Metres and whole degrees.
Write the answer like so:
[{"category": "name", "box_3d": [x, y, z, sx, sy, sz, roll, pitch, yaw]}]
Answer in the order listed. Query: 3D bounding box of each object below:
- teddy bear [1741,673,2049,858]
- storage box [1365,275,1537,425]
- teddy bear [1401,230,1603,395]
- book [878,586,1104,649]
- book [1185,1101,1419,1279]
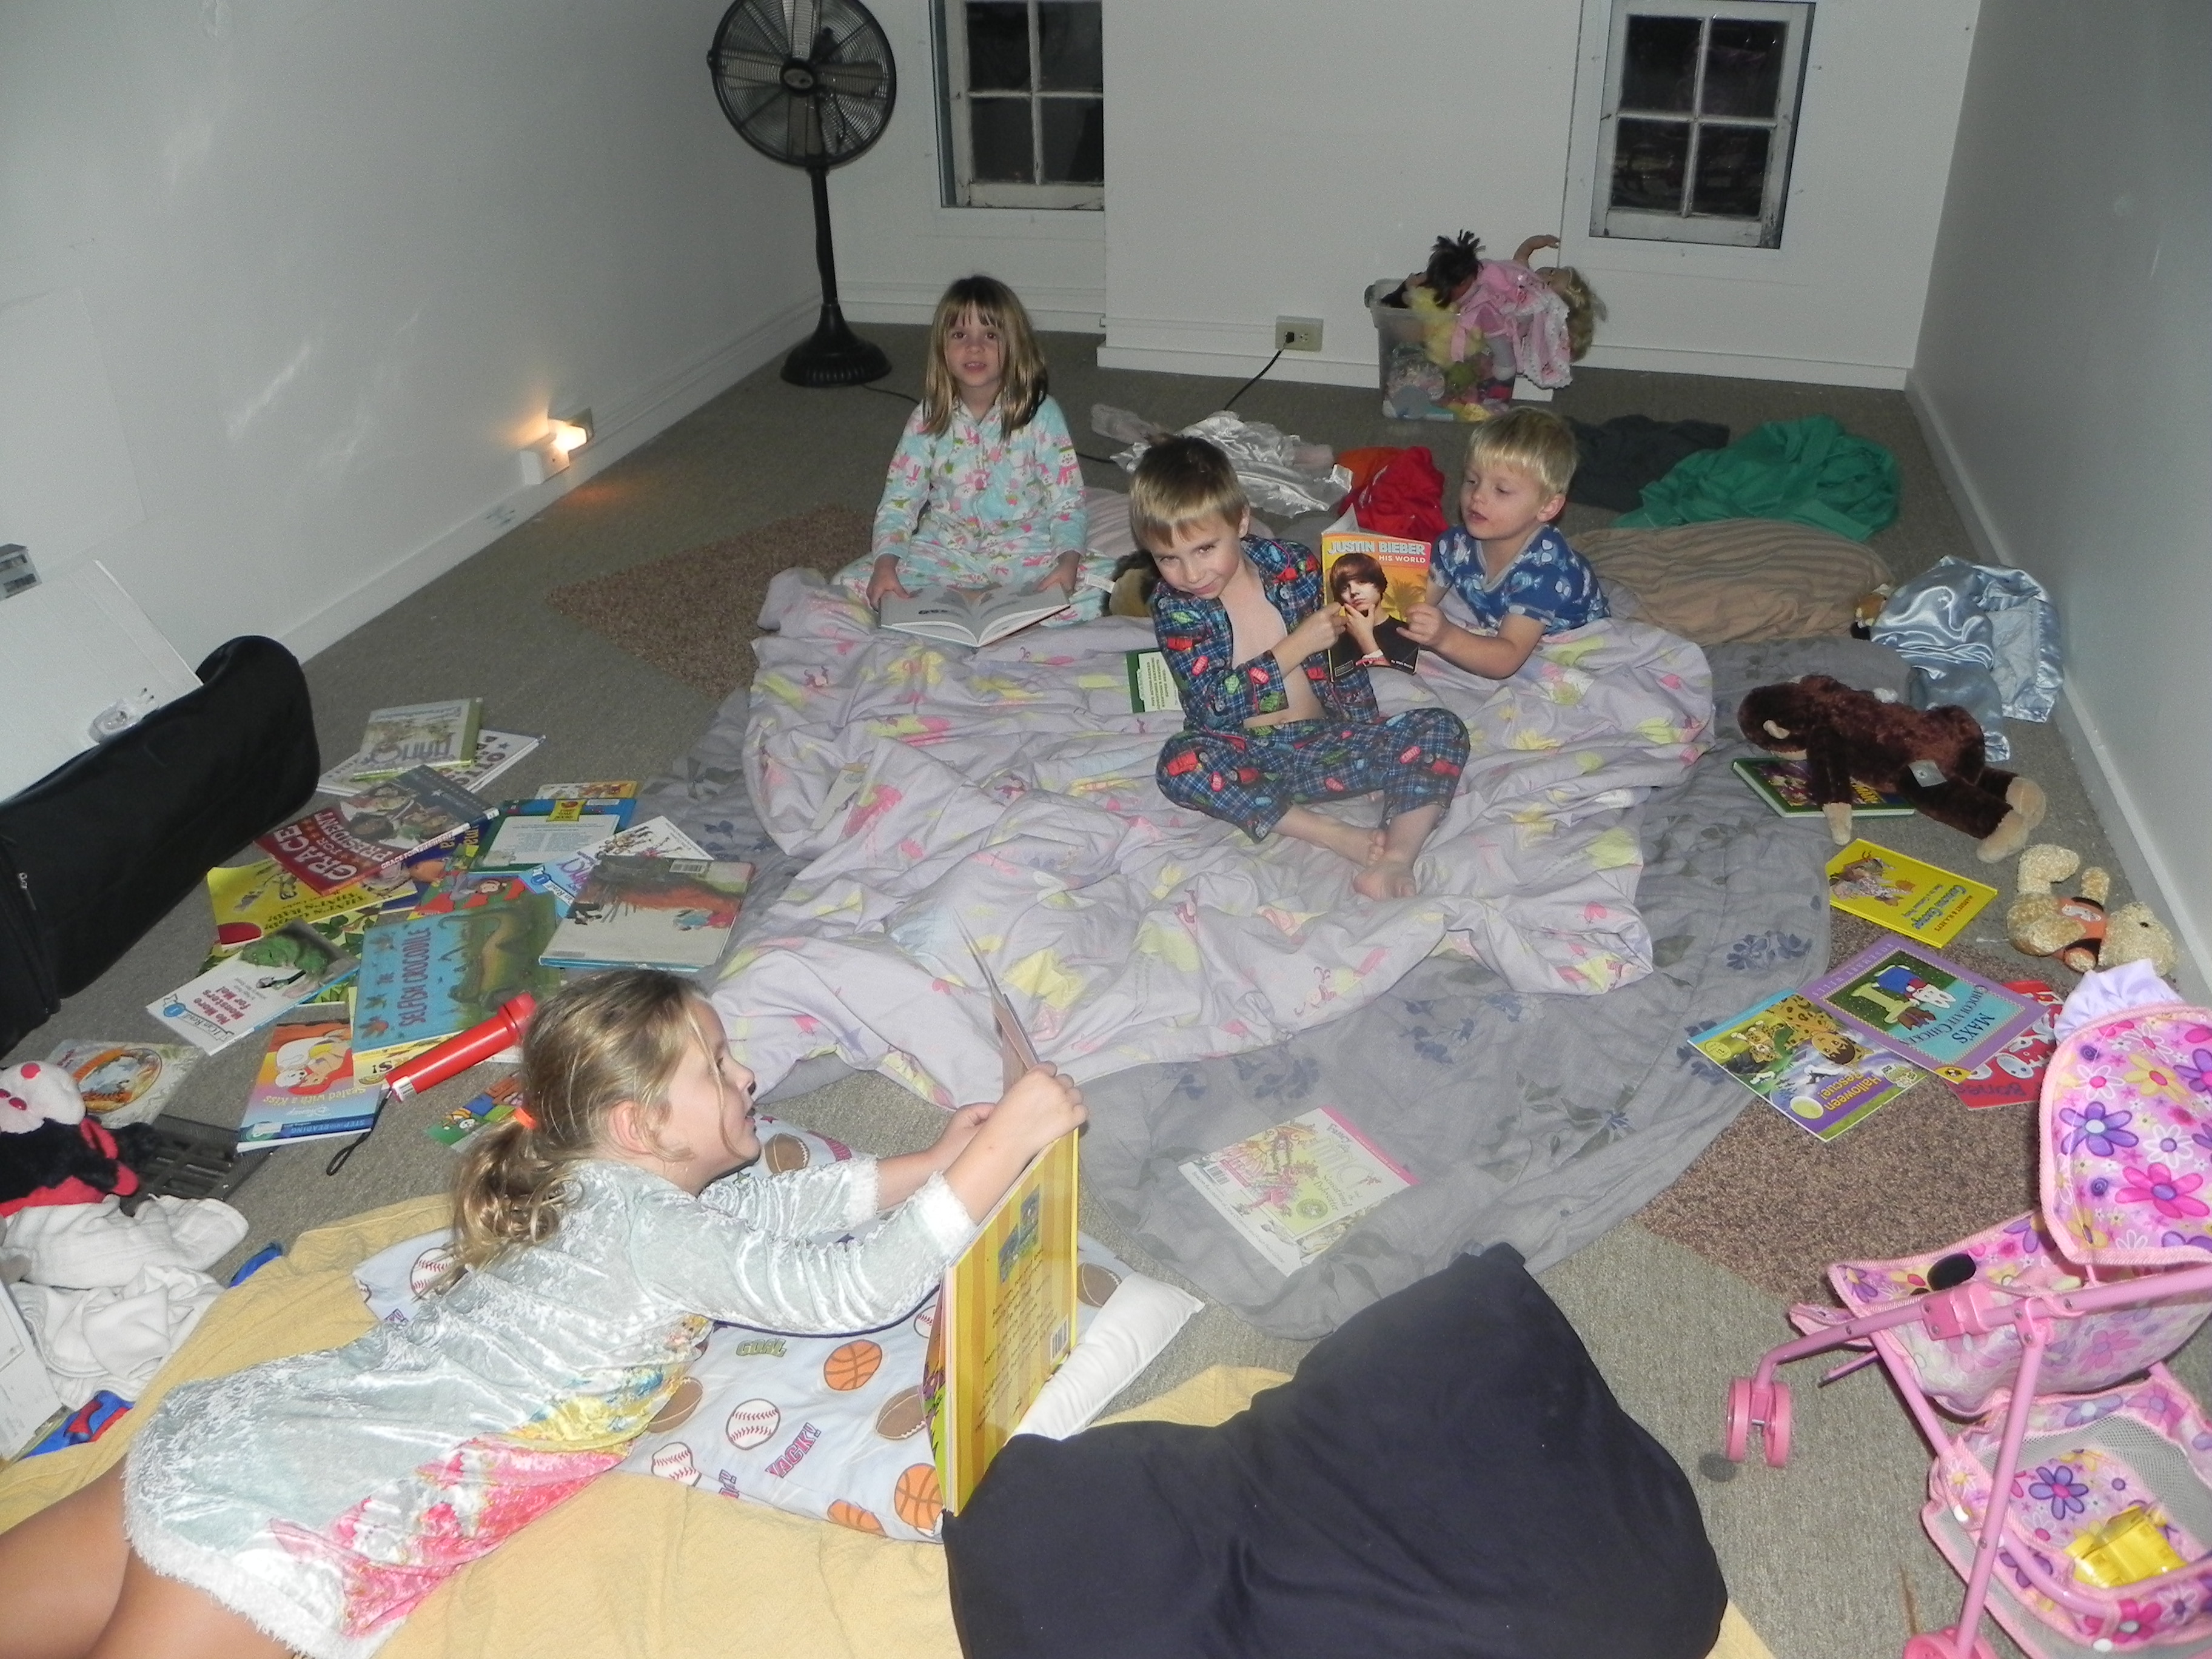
[{"category": "teddy bear", "box_3d": [1.609, -0.149, 3.210, 0.364, 0.158, 0.448, -33, 48, -13]}, {"category": "storage box", "box_3d": [1.127, -1.602, 5.113, 0.508, 0.359, 0.444, -6, 38, -8]}, {"category": "teddy bear", "box_3d": [1.274, -1.659, 5.016, 0.677, 0.510, 0.460, -2, 33, -8]}, {"category": "book", "box_3d": [-0.282, -0.498, 3.572, 0.450, 0.105, 0.222, 2, 32, -2]}, {"category": "book", "box_3d": [0.314, 0.581, 2.548, 0.290, 0.056, 0.265, -20, 39, -32]}]
